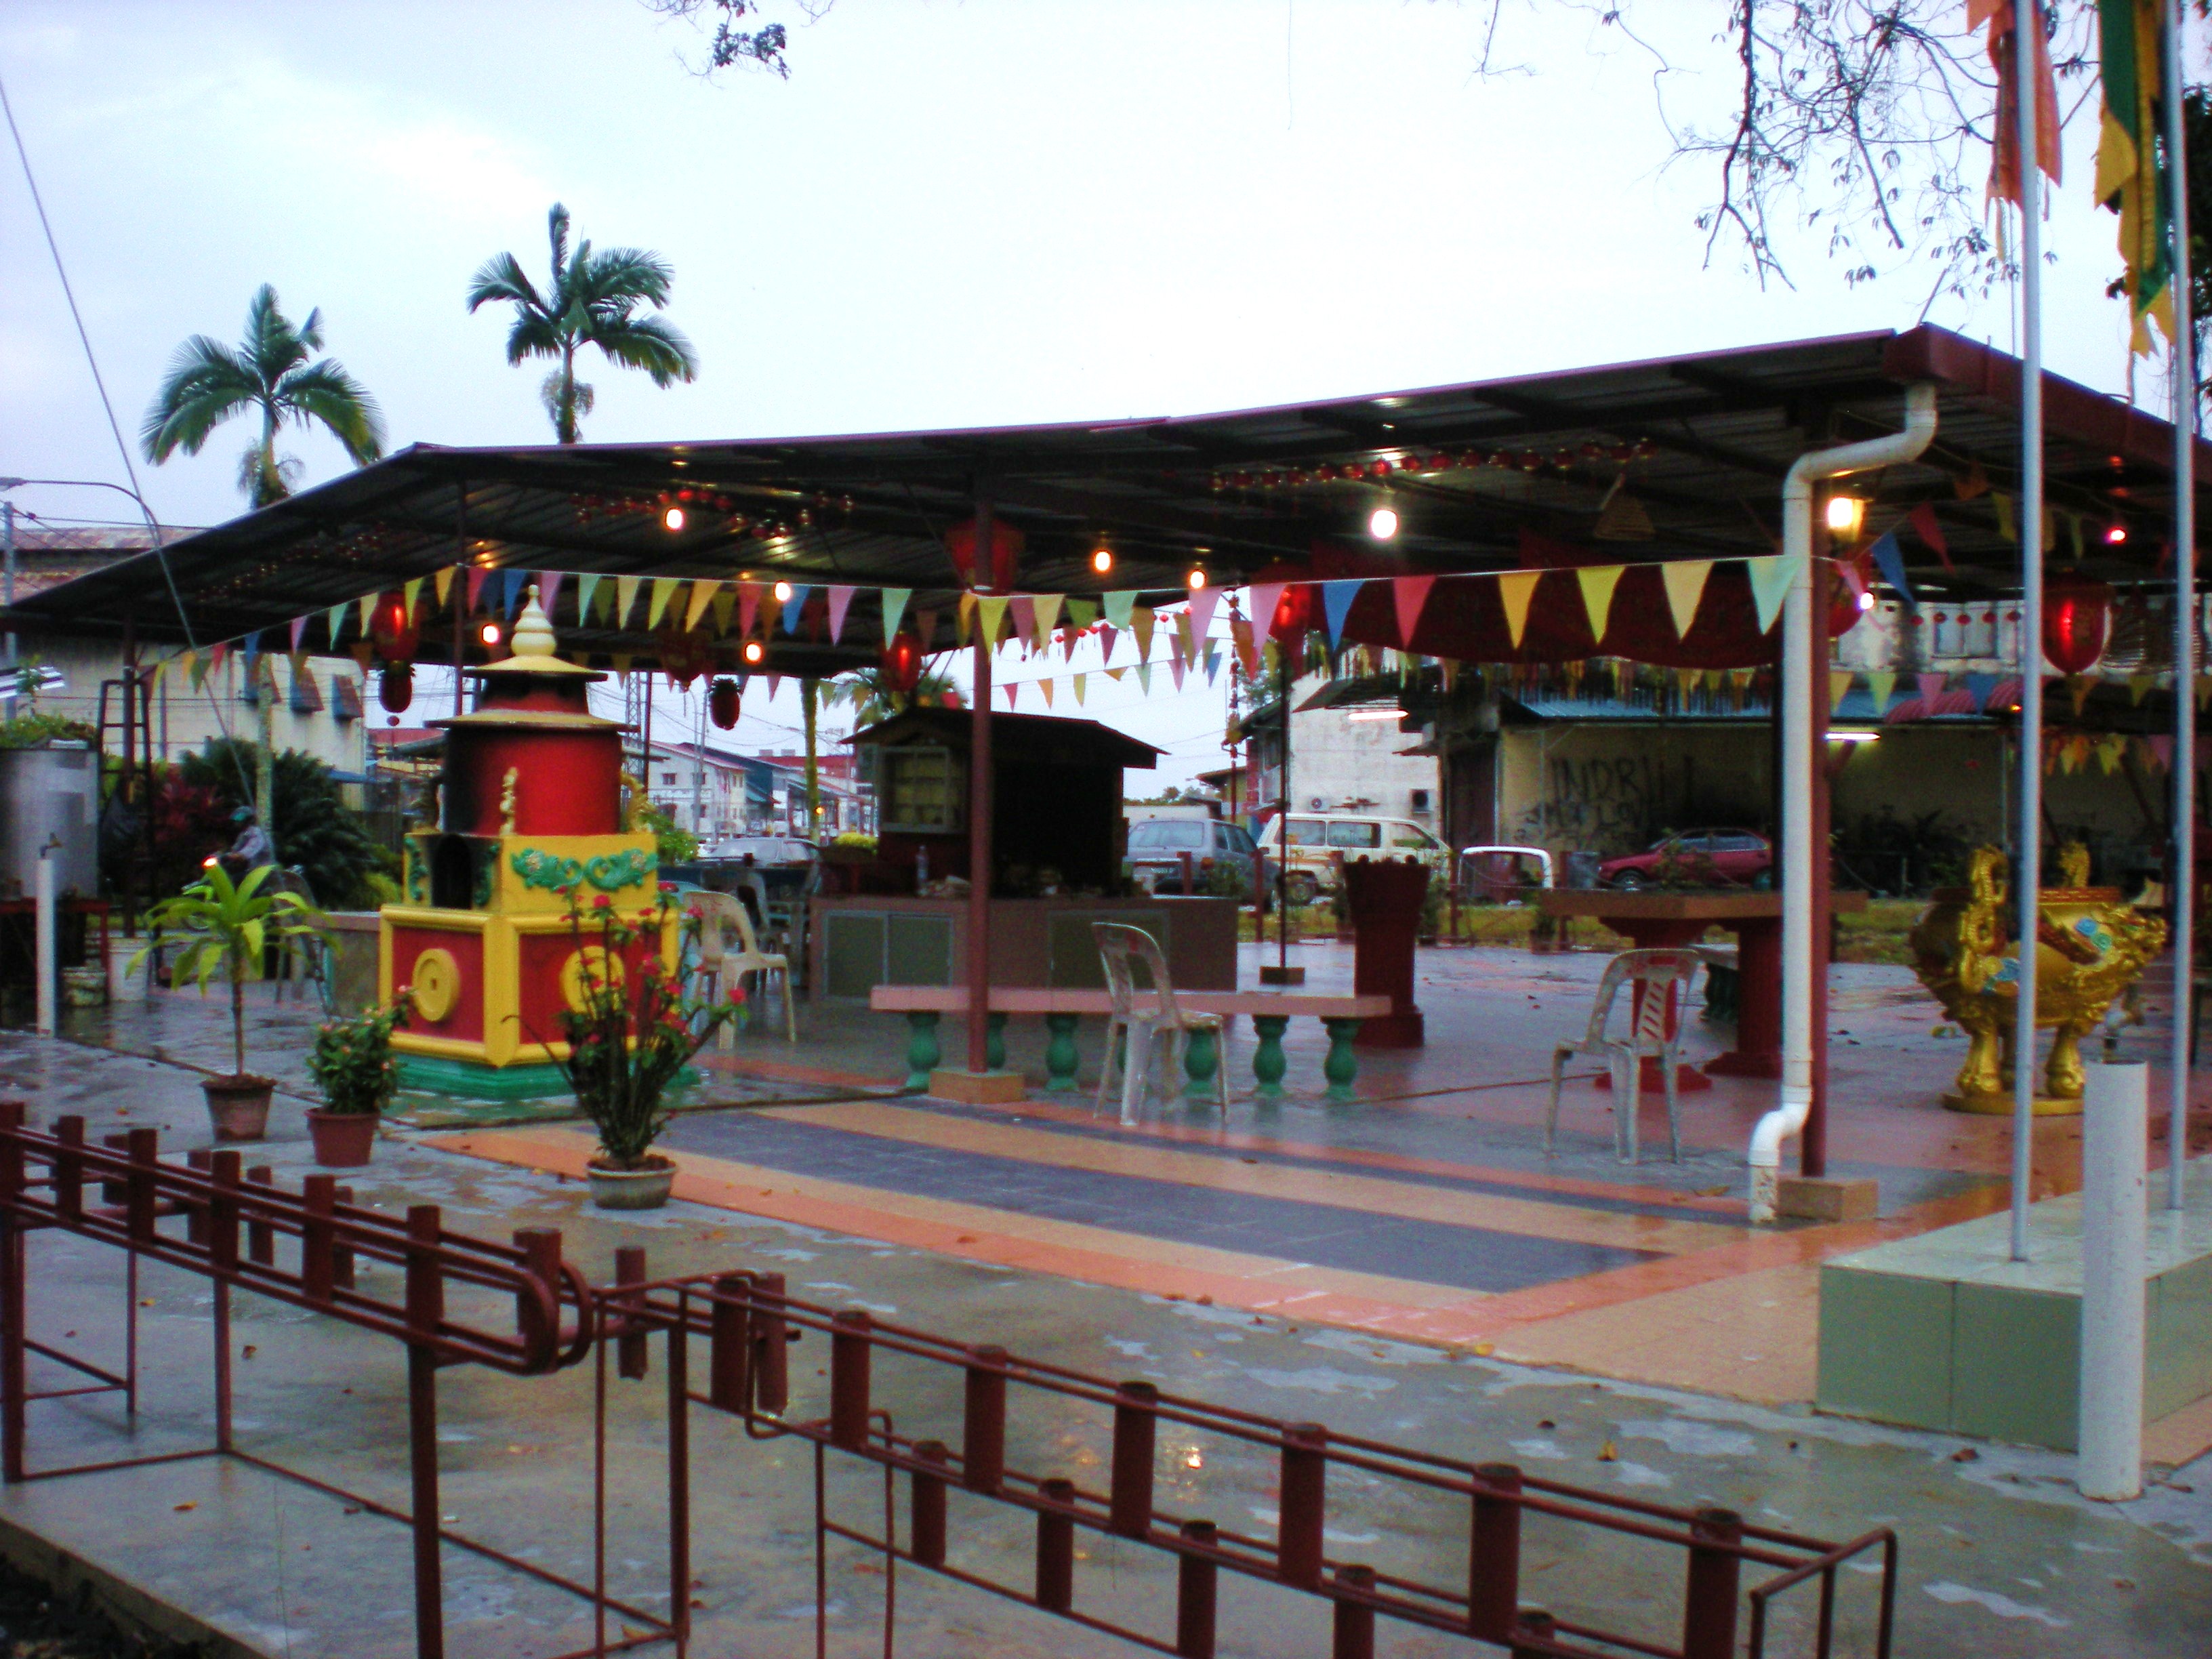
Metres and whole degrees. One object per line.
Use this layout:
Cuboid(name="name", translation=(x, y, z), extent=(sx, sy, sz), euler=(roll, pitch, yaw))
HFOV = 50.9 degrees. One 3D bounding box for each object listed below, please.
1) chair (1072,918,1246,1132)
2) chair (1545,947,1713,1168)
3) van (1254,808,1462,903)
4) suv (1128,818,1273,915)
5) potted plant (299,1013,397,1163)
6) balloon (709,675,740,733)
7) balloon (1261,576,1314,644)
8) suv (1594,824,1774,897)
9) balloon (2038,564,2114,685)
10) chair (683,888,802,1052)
Cuboid(name="chair", translation=(0.289, 1.050, 13.306), extent=(1.058, 1.376, 0.896), euler=(0, 0, -28))
Cuboid(name="chair", translation=(2.569, 1.064, 11.678), extent=(0.651, 0.908, 0.630), euler=(2, 2, 20))
Cuboid(name="van", translation=(3.746, 0.333, 35.961), extent=(2.771, 1.216, 1.648), euler=(-1, 1, -1))
Cuboid(name="suv", translation=(1.320, 0.404, 35.260), extent=(1.835, 1.312, 4.601), euler=(0, -1, 0))
Cuboid(name="potted plant", translation=(-3.480, 1.203, 10.738), extent=(0.458, 0.614, 0.400), euler=(-1, -7, 8))
Cuboid(name="balloon", translation=(-3.748, -1.247, 22.773), extent=(0.254, 0.531, 1.124), euler=(1, -1, -13))
Cuboid(name="balloon", translation=(0.941, -1.164, 12.121), extent=(0.359, 0.364, 0.381), euler=(-1, 1, 12))
Cuboid(name="suv", translation=(6.328, 0.287, 25.298), extent=(2.128, 0.690, 0.873), euler=(0, -3, -9))
Cuboid(name="balloon", translation=(5.700, -1.207, 13.737), extent=(0.321, 0.578, 1.167), euler=(0, -1, 21))
Cuboid(name="chair", translation=(-2.664, 0.879, 15.743), extent=(0.707, 0.711, 0.697), euler=(6, 18, 14))
